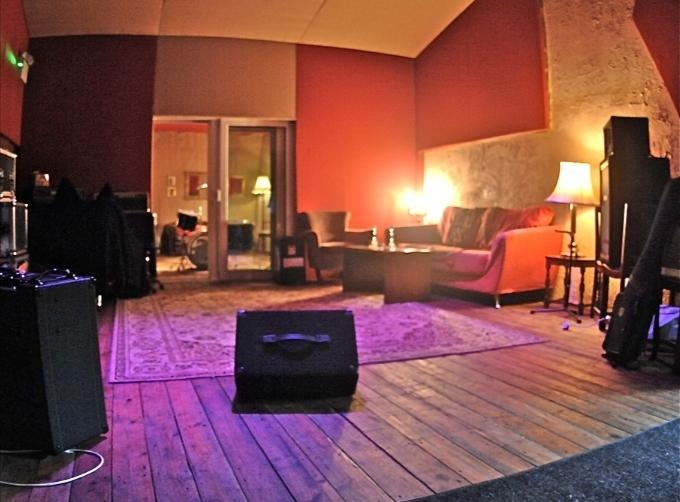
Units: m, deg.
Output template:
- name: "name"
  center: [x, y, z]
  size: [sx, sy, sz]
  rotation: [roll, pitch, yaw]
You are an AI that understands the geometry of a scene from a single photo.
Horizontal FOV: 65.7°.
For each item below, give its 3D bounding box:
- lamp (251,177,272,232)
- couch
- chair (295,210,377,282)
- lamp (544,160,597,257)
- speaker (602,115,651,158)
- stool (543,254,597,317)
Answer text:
- name: "lamp"
  center: [-1.104, -0.679, 7.486]
  size: [0.265, 0.803, 0.265]
  rotation: [-1, 7, -19]
- name: "couch"
  center: [1.545, -0.031, 6.096]
  size: [0.805, 0.897, 1.781]
  rotation: [-12, 11, -24]
- name: "chair"
  center: [-0.081, -0.069, 7.355]
  size: [1.012, 1.025, 0.955]
  rotation: [0, 1, -19]
- name: "lamp"
  center: [2.252, -0.410, 5.116]
  size: [0.433, 0.927, 0.631]
  rotation: [4, 7, 27]
- name: "speaker"
  center: [2.444, -0.971, 4.446]
  size: [0.255, 0.342, 0.481]
  rotation: [0, 3, 26]
- name: "stool"
  center: [2.228, 0.374, 5.145]
  size: [0.537, 0.680, 0.551]
  rotation: [1, 4, 22]
